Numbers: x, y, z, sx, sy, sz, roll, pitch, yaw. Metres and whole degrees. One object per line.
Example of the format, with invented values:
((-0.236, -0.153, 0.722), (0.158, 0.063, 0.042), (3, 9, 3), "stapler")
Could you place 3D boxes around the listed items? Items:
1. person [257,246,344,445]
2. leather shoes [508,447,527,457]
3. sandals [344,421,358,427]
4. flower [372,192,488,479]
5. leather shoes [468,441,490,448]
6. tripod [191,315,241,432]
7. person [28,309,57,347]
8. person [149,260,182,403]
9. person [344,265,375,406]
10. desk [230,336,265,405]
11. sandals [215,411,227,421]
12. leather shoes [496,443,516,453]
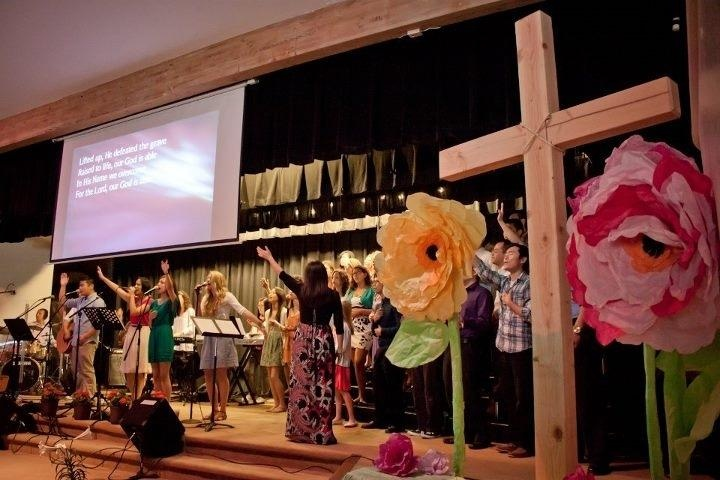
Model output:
((-0.509, 1.123, 5.904), (0.660, 1.787, 0.352), (-1, -14, -1), "person")
((1.388, 1.865, 5.123), (0.158, 0.068, 0.064), (2, -13, -6), "leather shoes")
((-0.122, 2.051, 6.516), (0.180, 0.082, 0.063), (4, -20, -10), "sandals")
((0.289, 0.382, 2.333), (0.432, 1.112, 0.348), (3, -14, -16), "flower")
((1.128, 1.923, 5.466), (0.191, 0.085, 0.071), (-2, 0, -9), "leather shoes")
((-1.612, 1.503, 6.516), (0.525, 1.170, 1.025), (2, -14, -13), "tripod")
((-5.549, 1.481, 10.136), (0.402, 0.825, 1.966), (6, -16, -28), "person")
((-2.380, 1.087, 6.960), (0.362, 1.588, 1.811), (3, -15, -18), "person")
((-0.019, 1.100, 6.883), (0.441, 1.623, 0.443), (4, -10, -16), "person")
((-1.864, 1.962, 8.870), (0.570, 0.924, 1.027), (-2, 1, -13), "desk")
((-1.646, 2.062, 6.848), (0.084, 0.068, 0.165), (2, 0, -9), "sandals")
((1.344, 1.906, 5.360), (0.187, 0.079, 0.071), (4, -9, -13), "leather shoes")
